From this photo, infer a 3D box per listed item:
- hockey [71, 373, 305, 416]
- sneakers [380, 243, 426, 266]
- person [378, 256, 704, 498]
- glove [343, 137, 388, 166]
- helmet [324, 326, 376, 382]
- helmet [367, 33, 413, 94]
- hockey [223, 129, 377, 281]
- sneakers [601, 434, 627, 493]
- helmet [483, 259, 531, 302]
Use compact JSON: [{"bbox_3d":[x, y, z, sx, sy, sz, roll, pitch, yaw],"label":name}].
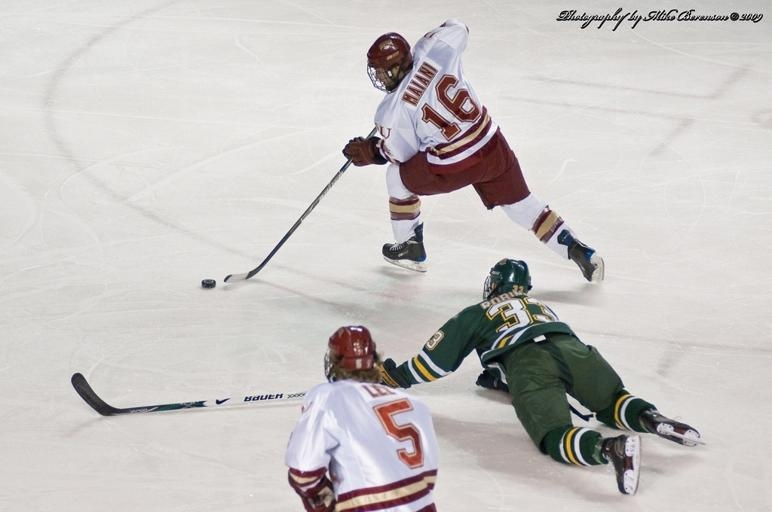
[{"bbox_3d":[-1.250,0.871,6.269,1.378,0.229,0.166,-2,16,-8],"label":"hockey"},{"bbox_3d":[0.138,-0.017,7.798,0.402,0.162,0.128,5,21,9],"label":"sneakers"},{"bbox_3d":[0.921,0.715,6.046,1.074,0.685,1.765,-10,25,-40],"label":"person"},{"bbox_3d":[-0.172,-0.775,7.655,0.268,0.099,0.246,5,29,23],"label":"glove"},{"bbox_3d":[-0.182,0.502,5.209,0.266,0.279,0.306,0,1,-14],"label":"helmet"},{"bbox_3d":[0.038,-1.376,7.321,0.291,0.380,0.210,6,39,20],"label":"helmet"},{"bbox_3d":[-0.714,-0.369,8.397,1.661,0.262,0.166,-47,30,9],"label":"hockey"},{"bbox_3d":[1.276,1.141,5.640,0.167,0.317,0.116,-8,13,8],"label":"sneakers"},{"bbox_3d":[0.778,0.159,6.452,0.267,0.273,0.300,3,7,-13],"label":"helmet"}]
